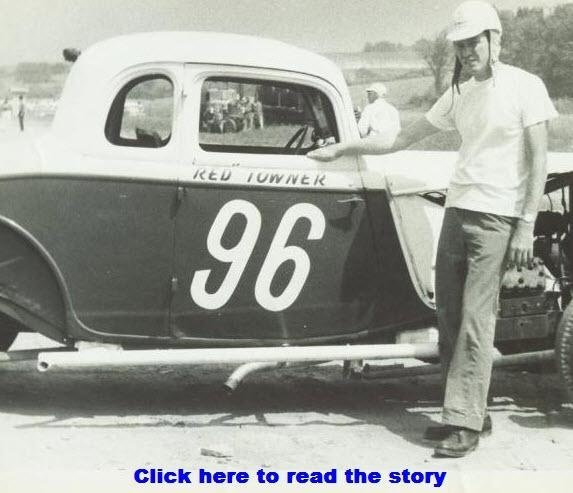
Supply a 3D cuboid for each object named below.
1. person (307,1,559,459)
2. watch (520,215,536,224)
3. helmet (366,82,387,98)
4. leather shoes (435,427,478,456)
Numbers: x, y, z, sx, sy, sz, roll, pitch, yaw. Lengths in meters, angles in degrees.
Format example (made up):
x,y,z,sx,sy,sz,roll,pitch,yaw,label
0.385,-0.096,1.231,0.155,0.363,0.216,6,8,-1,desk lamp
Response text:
x,y,z,sx,sy,sz,roll,pitch,yaw,label
0.969,-0.203,5.205,0.560,2.312,0.981,-6,10,-39,person
1.311,-0.149,4.930,0.092,0.054,0.047,-2,9,-17,watch
0.834,-1.454,8.496,0.167,0.110,0.133,22,11,9,helmet
0.924,1.067,5.064,0.272,0.144,0.112,-1,0,-34,leather shoes
